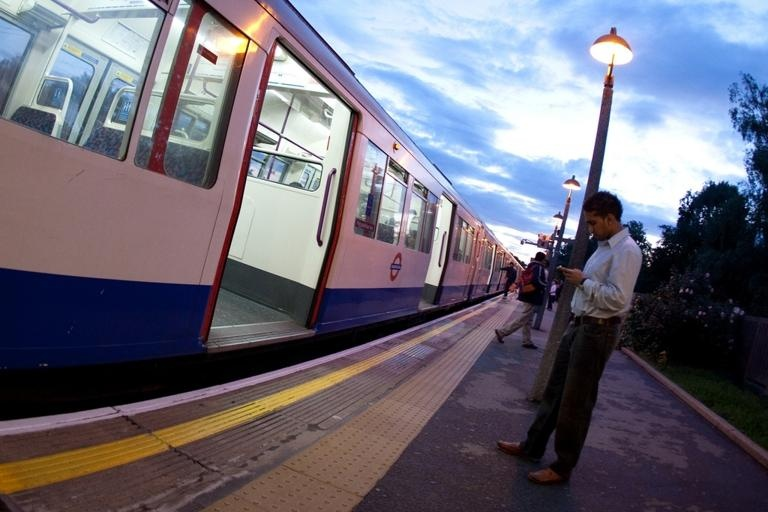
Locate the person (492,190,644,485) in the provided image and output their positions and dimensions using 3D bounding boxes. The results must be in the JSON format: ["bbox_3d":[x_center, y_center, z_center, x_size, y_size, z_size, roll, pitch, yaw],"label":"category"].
[{"bbox_3d":[1.816,0.746,3.618,0.700,2.831,0.650,10,5,8],"label":"person"}]

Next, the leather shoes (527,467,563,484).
[{"bbox_3d":[1.471,1.992,3.628,0.326,0.144,0.136,7,-9,-5],"label":"leather shoes"}]

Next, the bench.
[{"bbox_3d":[-2.192,-0.854,3.063,0.111,0.201,0.840,19,-1,35],"label":"bench"}]

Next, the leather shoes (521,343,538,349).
[{"bbox_3d":[3.547,2.153,9.592,0.425,0.201,0.149,5,1,-8],"label":"leather shoes"}]

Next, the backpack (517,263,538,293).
[{"bbox_3d":[3.463,0.536,9.550,0.220,0.627,0.429,16,-5,6],"label":"backpack"}]
